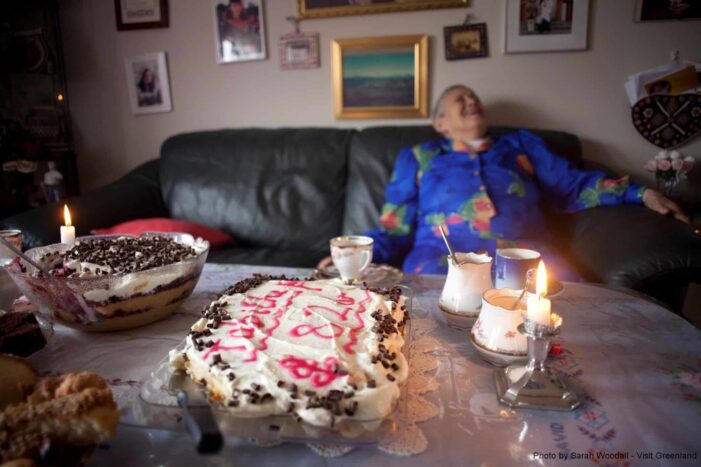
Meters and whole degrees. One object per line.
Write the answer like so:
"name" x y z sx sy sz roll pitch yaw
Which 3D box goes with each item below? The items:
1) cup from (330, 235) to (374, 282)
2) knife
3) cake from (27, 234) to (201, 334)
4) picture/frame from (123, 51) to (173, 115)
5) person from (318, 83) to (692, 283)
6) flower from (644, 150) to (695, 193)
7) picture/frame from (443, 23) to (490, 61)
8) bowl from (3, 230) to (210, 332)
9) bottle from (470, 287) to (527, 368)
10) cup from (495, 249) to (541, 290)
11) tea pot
"cup" 0.003 0.070 1.452 0.120 0.107 0.149 -3 11 -11
"knife" -0.327 0.320 0.956 0.066 0.044 0.324 9 11 -25
"cake" -0.563 0.164 1.179 0.295 0.121 0.297 -2 10 -9
"picture/frame" -1.381 -1.052 3.080 0.425 0.502 0.051 -1 19 14
"person" 0.644 -0.271 2.198 1.698 1.000 0.969 -2 1 17
"flower" 1.765 -0.353 2.536 0.252 0.258 0.253 -6 7 -20
"picture/frame" 0.677 -1.126 2.609 0.210 0.162 0.015 -2 15 11
"bowl" -0.633 0.126 1.188 0.333 0.137 0.340 -2 0 0
"bottle" 0.349 0.238 1.171 0.162 0.165 0.164 0 3 2
"cup" 0.461 0.097 1.269 0.134 0.114 0.103 -6 18 -9
"tea pot" 0.314 0.157 1.326 0.179 0.238 0.184 2 15 -1
